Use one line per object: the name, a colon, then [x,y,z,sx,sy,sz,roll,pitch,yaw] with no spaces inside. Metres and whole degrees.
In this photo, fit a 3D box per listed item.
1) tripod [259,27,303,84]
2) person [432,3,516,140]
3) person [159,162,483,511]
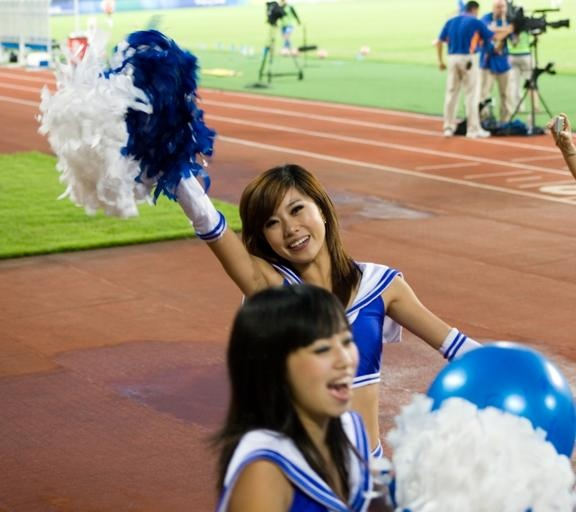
tripod: [-0.169,-5.644,18.445,1.082,1.702,1.140,-30,49,-27]
person: [3.149,-3.244,11.514,1.123,2.340,1.440,5,15,16]
person: [0.220,0.416,2.122,0.903,1.636,0.341,-6,14,14]
